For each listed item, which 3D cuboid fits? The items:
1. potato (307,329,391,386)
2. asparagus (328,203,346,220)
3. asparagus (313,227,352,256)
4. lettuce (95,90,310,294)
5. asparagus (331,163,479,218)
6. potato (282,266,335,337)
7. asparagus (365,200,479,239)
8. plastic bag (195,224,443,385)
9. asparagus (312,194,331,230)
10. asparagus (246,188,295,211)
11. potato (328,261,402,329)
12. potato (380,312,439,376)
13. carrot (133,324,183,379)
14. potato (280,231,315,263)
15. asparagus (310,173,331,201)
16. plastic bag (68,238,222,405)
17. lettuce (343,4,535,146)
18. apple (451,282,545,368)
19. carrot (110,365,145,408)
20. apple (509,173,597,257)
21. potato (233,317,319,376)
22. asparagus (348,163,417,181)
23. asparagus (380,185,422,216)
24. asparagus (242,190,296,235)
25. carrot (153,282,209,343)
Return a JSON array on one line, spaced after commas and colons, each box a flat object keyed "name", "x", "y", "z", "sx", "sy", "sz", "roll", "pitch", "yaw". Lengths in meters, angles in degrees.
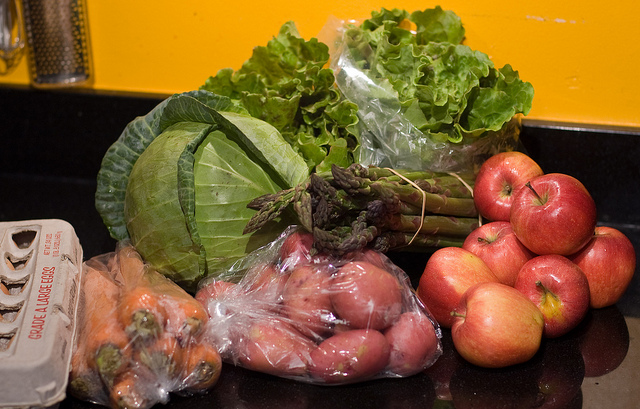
[{"name": "potato", "x": 0.073, "y": 0.362, "z": 1.361, "sx": 0.188, "sy": 0.114, "sz": 0.107, "roll": -16, "pitch": 4, "yaw": -7}, {"name": "asparagus", "x": 0.042, "y": 0.019, "z": 1.416, "sx": 0.031, "sy": 0.018, "sz": 0.043, "roll": 0, "pitch": -16, "yaw": 21}, {"name": "asparagus", "x": 0.032, "y": 0.083, "z": 1.416, "sx": 0.071, "sy": 0.048, "sz": 0.142, "roll": 8, "pitch": -16, "yaw": 24}, {"name": "lettuce", "x": -0.306, "y": -0.068, "z": 1.615, "sx": 0.512, "sy": 0.445, "sz": 0.580, "roll": 0, "pitch": 24, "yaw": 21}, {"name": "asparagus", "x": 0.225, "y": -0.033, "z": 1.499, "sx": 0.373, "sy": 0.078, "sz": 0.072, "roll": 13, "pitch": 6, "yaw": -34}, {"name": "potato", "x": -0.030, "y": 0.235, "z": 1.357, "sx": 0.116, "sy": 0.163, "sz": 0.087, "roll": -7, "pitch": -9, "yaw": 13}, {"name": "asparagus", "x": 0.288, "y": 0.069, "z": 1.554, "sx": 0.414, "sy": 0.105, "sz": 0.112, "roll": 7, "pitch": -4, "yaw": -32}, {"name": "plastic bag", "x": -0.005, "y": 0.250, "z": 1.322, "sx": 0.498, "sy": 0.177, "sz": 0.383, "roll": 4, "pitch": 53, "yaw": -1}, {"name": "asparagus", "x": 0.007, "y": 0.002, "z": 1.418, "sx": 0.043, "sy": 0.040, "sz": 0.093, "roll": -30, "pitch": -11, "yaw": -7}, {"name": "asparagus", "x": -0.130, "y": -0.013, "z": 1.431, "sx": 0.091, "sy": 0.023, "sz": 0.022, "roll": -19, "pitch": 54, "yaw": -15}, {"name": "potato", "x": 0.115, "y": 0.233, "z": 1.380, "sx": 0.132, "sy": 0.096, "sz": 0.168, "roll": -40, "pitch": 73, "yaw": -4}, {"name": "potato", "x": 0.212, "y": 0.344, "z": 1.394, "sx": 0.121, "sy": 0.091, "sz": 0.152, "roll": -35, "pitch": 64, "yaw": -12}, {"name": "carrot", "x": -0.379, "y": 0.330, "z": 1.284, "sx": 0.084, "sy": 0.119, "sz": 0.064, "roll": -8, "pitch": -4, "yaw": -13}, {"name": "potato", "x": -0.049, "y": 0.105, "z": 1.427, "sx": 0.064, "sy": 0.047, "sz": 0.083, "roll": 34, "pitch": 79, "yaw": 34}, {"name": "asparagus", "x": -0.001, "y": -0.047, "z": 1.382, "sx": 0.078, "sy": 0.031, "sz": 0.028, "roll": 44, "pitch": 39, "yaw": 19}, {"name": "plastic bag", "x": -0.465, "y": 0.258, "z": 1.363, "sx": 0.259, "sy": 0.179, "sz": 0.383, "roll": -10, "pitch": 47, "yaw": -19}, {"name": "lettuce", "x": 0.349, "y": -0.326, "z": 1.785, "sx": 0.449, "sy": 0.231, "sz": 0.519, "roll": -17, "pitch": 67, "yaw": -14}, {"name": "apple", "x": 0.441, "y": 0.271, "z": 1.444, "sx": 0.212, "sy": 0.214, "sz": 0.200, "roll": 7, "pitch": 2, "yaw": 4}, {"name": "carrot", "x": -0.443, "y": 0.425, "z": 1.272, "sx": 0.063, "sy": 0.105, "sz": 0.043, "roll": -7, "pitch": -8, "yaw": -5}, {"name": "apple", "x": 0.623, "y": 0.030, "z": 1.525, "sx": 0.200, "sy": 0.210, "sz": 0.216, "roll": -20, "pitch": 46, "yaw": 26}, {"name": "potato", "x": -0.112, "y": 0.346, "z": 1.349, "sx": 0.201, "sy": 0.115, "sz": 0.074, "roll": 8, "pitch": 23, "yaw": 12}, {"name": "asparagus", "x": 0.186, "y": -0.080, "z": 1.552, "sx": 0.056, "sy": 0.060, "sz": 0.330, "roll": 3, "pitch": 3, "yaw": 42}, {"name": "asparagus", "x": 0.214, "y": 0.002, "z": 1.458, "sx": 0.044, "sy": 0.048, "sz": 0.198, "roll": 33, "pitch": 5, "yaw": 30}, {"name": "asparagus", "x": -0.137, "y": 0.015, "z": 1.441, "sx": 0.138, "sy": 0.033, "sz": 0.031, "roll": -43, "pitch": 17, "yaw": -14}, {"name": "carrot", "x": -0.355, "y": 0.256, "z": 1.398, "sx": 0.173, "sy": 0.064, "sz": 0.083, "roll": 42, "pitch": 37, "yaw": 17}]
